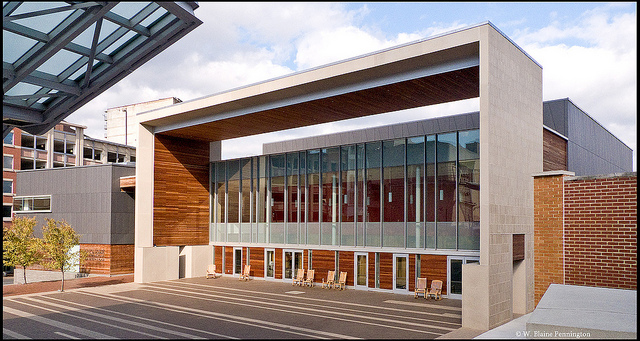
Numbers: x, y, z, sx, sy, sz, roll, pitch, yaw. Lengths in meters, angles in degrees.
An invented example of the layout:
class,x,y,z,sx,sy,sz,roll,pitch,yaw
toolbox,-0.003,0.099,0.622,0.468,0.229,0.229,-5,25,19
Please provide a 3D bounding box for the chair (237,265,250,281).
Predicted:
class,x,y,z,sx,sy,sz,roll,pitch,yaw
chair,-5.813,7.968,35.503,0.846,1.019,0.971,-1,0,-10

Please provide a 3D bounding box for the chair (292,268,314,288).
class,x,y,z,sx,sy,sz,roll,pitch,yaw
chair,-1.114,7.847,33.074,1.319,0.813,0.520,-7,-16,30

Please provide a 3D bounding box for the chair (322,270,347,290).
class,x,y,z,sx,sy,sz,roll,pitch,yaw
chair,1.028,7.646,31.846,1.681,0.948,0.789,-1,0,26
